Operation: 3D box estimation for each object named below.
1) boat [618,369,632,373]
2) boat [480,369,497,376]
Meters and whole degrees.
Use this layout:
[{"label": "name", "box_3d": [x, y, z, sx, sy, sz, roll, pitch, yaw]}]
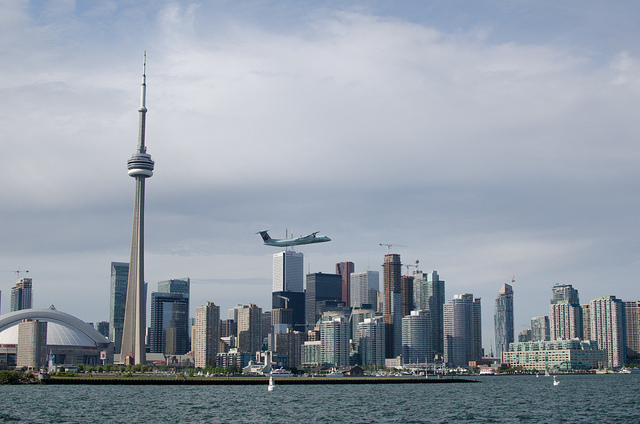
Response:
[{"label": "boat", "box_3d": [260.842, 136.438, 1425.380, 7.867, 3.364, 11.412, -7, -10, 27]}, {"label": "boat", "box_3d": [140.173, 134.491, 1396.906, 13.967, 5.327, 21.392, -3, -9, 7]}]
